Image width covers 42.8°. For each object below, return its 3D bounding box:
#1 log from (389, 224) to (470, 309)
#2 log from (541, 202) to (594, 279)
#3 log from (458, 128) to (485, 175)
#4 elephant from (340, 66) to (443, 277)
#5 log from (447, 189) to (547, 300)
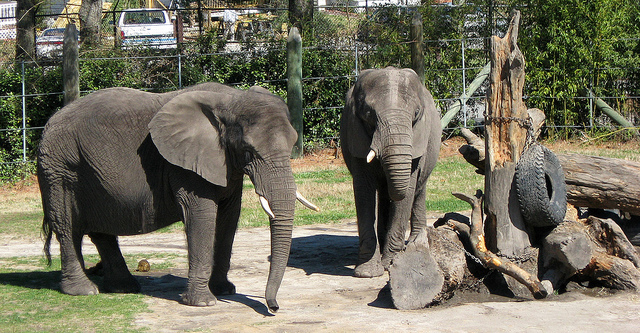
[{"bbox_3d":[2.385,2.228,17.949,1.244,2.047,0.546,42,-14,-1],"label":"log"},{"bbox_3d":[5.459,1.636,18.475,1.089,1.493,0.580,-4,-7,-32],"label":"log"},{"bbox_3d":[3.641,-0.333,19.507,0.587,1.135,0.896,1,7,10],"label":"log"},{"bbox_3d":[1.662,0.084,19.350,2.080,4.844,1.852,1,7,9],"label":"elephant"},{"bbox_3d":[4.021,1.807,18.655,2.959,1.068,1.359,38,16,20],"label":"log"}]
